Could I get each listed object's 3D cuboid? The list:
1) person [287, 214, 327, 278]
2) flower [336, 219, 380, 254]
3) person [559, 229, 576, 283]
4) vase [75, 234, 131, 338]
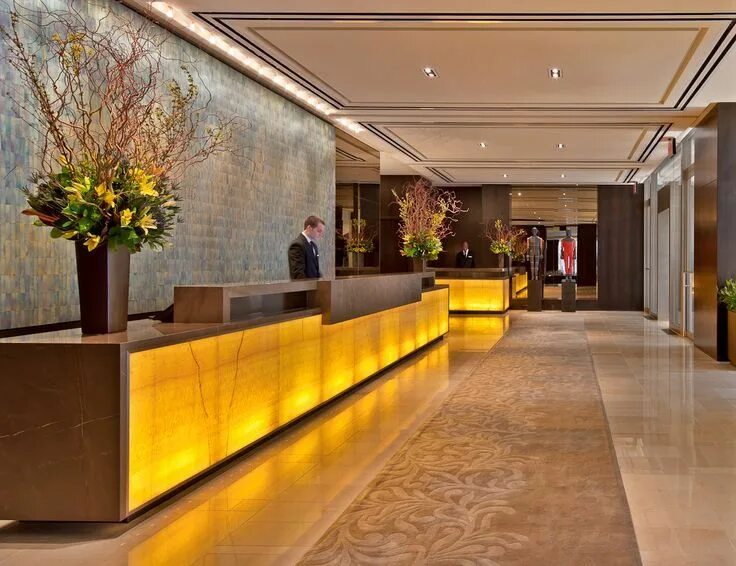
[{"bbox_3d":[-0.749,-0.460,5.988,0.407,0.810,0.859,0,0,-8],"label":"person"},{"bbox_3d":[-0.157,-1.070,11.512,0.680,1.164,1.273,-1,0,23],"label":"flower"},{"bbox_3d":[7.632,-1.137,18.565,0.514,1.921,0.273,-1,0,18],"label":"person"},{"bbox_3d":[-1.553,0.032,2.874,0.275,0.538,0.227,0,0,-30],"label":"vase"}]
